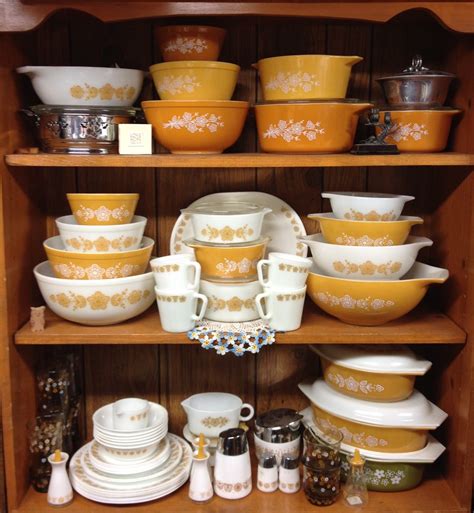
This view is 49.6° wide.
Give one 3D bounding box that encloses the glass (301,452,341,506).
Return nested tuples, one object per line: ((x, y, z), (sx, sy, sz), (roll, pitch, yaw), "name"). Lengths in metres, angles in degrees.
((0.197, 0.530, 1.227), (0.084, 0.127, 0.058), (3, 22, 13), "glass")

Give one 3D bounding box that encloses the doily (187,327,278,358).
((-0.014, 0.196, 1.179), (0.198, 0.050, 0.065), (1, 20, 8), "doily")

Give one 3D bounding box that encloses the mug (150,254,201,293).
((-0.138, 0.046, 1.191), (0.091, 0.073, 0.117), (-9, 7, -42), "mug")

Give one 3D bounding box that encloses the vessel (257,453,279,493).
((0.069, 0.548, 1.296), (0.063, 0.073, 0.058), (-1, -15, 27), "vessel")

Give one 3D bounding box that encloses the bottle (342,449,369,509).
((0.286, 0.512, 1.224), (0.059, 0.148, 0.094), (3, 21, 12), "bottle")

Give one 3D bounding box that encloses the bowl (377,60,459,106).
((0.442, -0.418, 1.262), (0.198, 0.096, 0.187), (-3, 13, 1), "bowl")

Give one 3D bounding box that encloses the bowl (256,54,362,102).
((0.155, -0.424, 1.245), (0.281, 0.082, 0.161), (-1, 13, 5), "bowl")

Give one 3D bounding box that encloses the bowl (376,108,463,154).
((0.431, -0.278, 1.228), (0.142, 0.060, 0.147), (-1, 4, 0), "bowl")

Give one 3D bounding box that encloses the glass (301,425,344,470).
((0.201, 0.459, 1.250), (0.103, 0.077, 0.093), (0, 0, -1), "glass")

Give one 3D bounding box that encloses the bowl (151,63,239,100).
((-0.106, -0.424, 1.270), (0.217, 0.068, 0.210), (-3, 11, 1), "bowl")

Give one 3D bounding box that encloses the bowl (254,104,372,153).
((0.182, -0.314, 1.284), (0.319, 0.099, 0.257), (4, 12, 25), "bowl")

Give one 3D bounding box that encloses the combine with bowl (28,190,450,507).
((0.169, 0.207, 1.302), (0.719, 0.717, 0.496), (6, 22, 20), "combine with bowl")

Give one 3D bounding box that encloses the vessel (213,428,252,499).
((-0.024, 0.515, 1.271), (0.112, 0.130, 0.101), (-2, -13, 17), "vessel")

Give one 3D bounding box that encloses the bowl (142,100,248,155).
((-0.100, -0.317, 1.289), (0.274, 0.106, 0.263), (0, 9, 0), "bowl")

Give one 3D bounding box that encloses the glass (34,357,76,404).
((-0.475, 0.324, 1.378), (0.092, 0.073, 0.066), (-2, 22, 16), "glass")

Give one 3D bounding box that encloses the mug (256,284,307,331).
((0.078, 0.125, 1.198), (0.100, 0.086, 0.144), (-2, 0, 34), "mug")

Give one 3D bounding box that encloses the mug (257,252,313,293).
((0.105, 0.032, 1.178), (0.119, 0.061, 0.088), (-4, 16, -21), "mug")

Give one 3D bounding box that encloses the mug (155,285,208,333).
((-0.108, 0.127, 1.194), (0.096, 0.088, 0.146), (-2, 0, -41), "mug")
